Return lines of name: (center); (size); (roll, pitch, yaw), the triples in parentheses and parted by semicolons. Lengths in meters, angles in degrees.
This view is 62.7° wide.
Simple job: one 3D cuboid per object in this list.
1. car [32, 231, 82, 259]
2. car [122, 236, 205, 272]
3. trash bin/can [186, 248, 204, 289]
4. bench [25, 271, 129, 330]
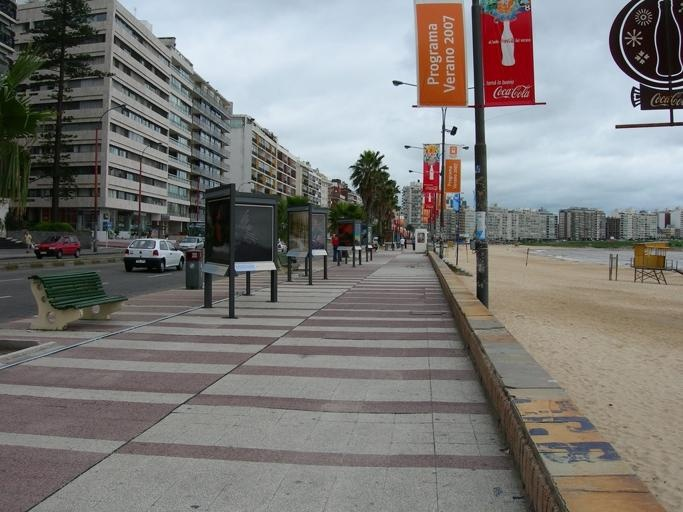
car: (-17.851, -0.644, 35.285); (1.527, 1.166, 2.388); (-1, -4, 10)
car: (-9.235, -0.073, 27.601); (2.352, 1.778, 4.376); (1, 6, -8)
trash bin/can: (-4.842, 0.409, 18.412); (0.603, 0.988, 0.564); (4, -10, 17)
bench: (-5.017, 0.811, 10.385); (0.915, 1.085, 1.622); (3, 6, 13)
